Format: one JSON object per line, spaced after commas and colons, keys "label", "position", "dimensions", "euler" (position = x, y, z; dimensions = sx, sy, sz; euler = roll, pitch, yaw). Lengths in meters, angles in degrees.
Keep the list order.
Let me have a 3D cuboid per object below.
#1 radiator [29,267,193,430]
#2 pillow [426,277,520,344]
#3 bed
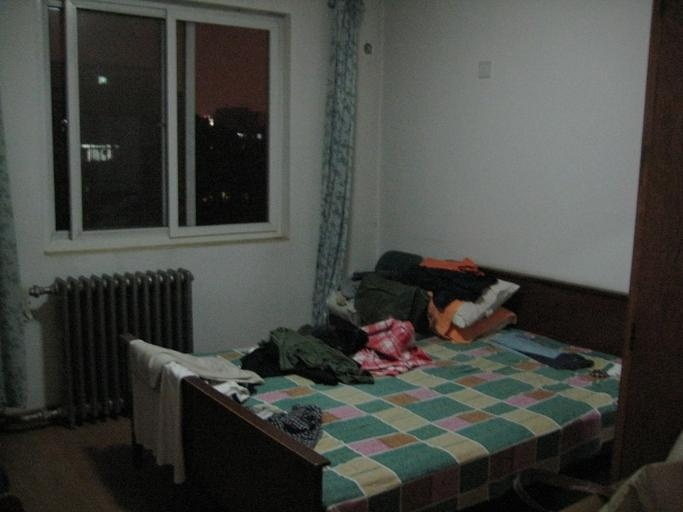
{"label": "radiator", "position": [-1.488, 0.592, 3.478], "dimensions": [1.015, 0.887, 0.201], "euler": [-3, 6, -33]}
{"label": "pillow", "position": [0.893, 0.381, 3.720], "dimensions": [0.473, 0.176, 0.468], "euler": [-23, 28, -3]}
{"label": "bed", "position": [0.228, 0.662, 3.020], "dimensions": [1.199, 0.563, 1.094], "euler": [-13, 20, -38]}
